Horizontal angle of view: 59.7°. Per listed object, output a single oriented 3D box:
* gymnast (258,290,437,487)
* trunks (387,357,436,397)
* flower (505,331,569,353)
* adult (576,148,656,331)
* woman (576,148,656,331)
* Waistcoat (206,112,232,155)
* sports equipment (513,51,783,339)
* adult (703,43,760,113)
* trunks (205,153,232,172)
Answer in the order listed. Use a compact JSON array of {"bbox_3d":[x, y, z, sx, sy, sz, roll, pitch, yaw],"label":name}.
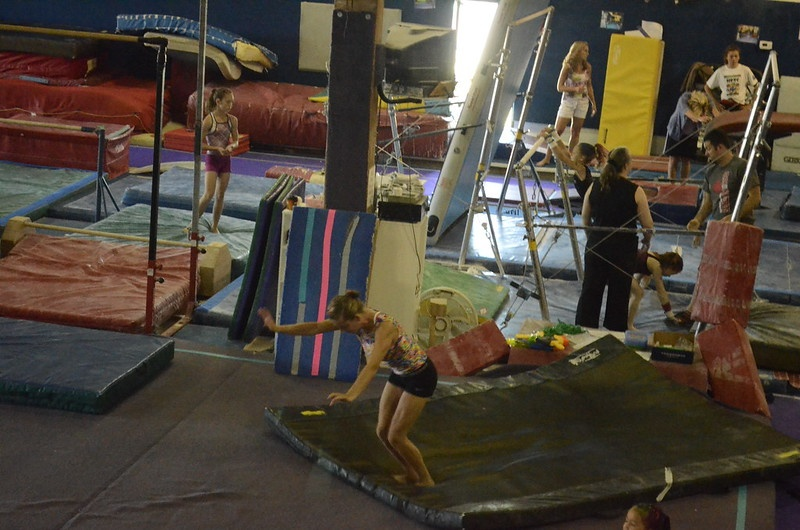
[{"bbox_3d":[-0.333,1.048,5.390,1.232,1.567,0.848,0,-4,-27],"label":"gymnast"},{"bbox_3d":[0.110,0.890,5.431,0.381,0.270,0.291,11,47,14],"label":"trunks"},{"bbox_3d":[1.411,0.770,7.024,0.372,0.129,0.275,2,7,-5],"label":"flower"},{"bbox_3d":[2.273,-0.243,7.460,0.730,1.986,0.662,9,11,13],"label":"adult"},{"bbox_3d":[2.270,-0.244,7.462,0.732,1.986,0.685,9,11,14],"label":"woman"},{"bbox_3d":[-2.351,-1.744,9.043,0.329,0.450,0.258,-9,29,-32],"label":"Waistcoat"},{"bbox_3d":[2.754,-0.751,7.903,1.593,2.512,1.409,14,-7,14],"label":"sports equipment"},{"bbox_3d":[5.531,-3.076,11.607,0.843,0.999,0.711,-2,18,12],"label":"adult"},{"bbox_3d":[-2.385,-1.324,9.193,0.330,0.281,0.226,-3,6,-29],"label":"trunks"}]
